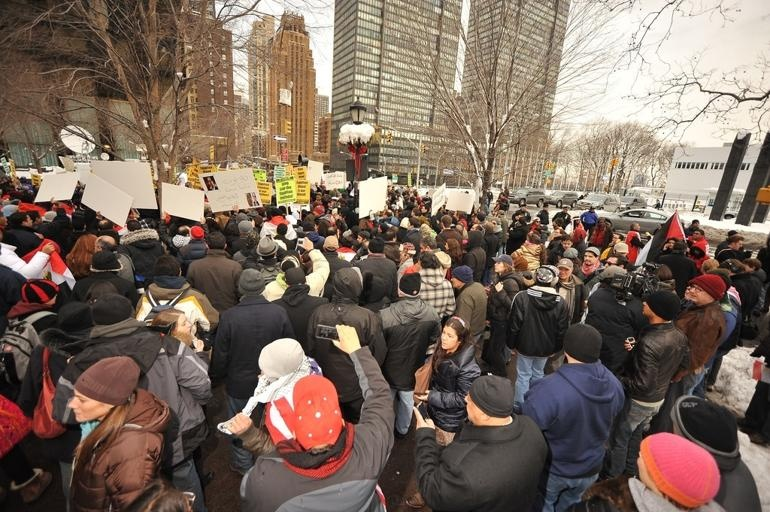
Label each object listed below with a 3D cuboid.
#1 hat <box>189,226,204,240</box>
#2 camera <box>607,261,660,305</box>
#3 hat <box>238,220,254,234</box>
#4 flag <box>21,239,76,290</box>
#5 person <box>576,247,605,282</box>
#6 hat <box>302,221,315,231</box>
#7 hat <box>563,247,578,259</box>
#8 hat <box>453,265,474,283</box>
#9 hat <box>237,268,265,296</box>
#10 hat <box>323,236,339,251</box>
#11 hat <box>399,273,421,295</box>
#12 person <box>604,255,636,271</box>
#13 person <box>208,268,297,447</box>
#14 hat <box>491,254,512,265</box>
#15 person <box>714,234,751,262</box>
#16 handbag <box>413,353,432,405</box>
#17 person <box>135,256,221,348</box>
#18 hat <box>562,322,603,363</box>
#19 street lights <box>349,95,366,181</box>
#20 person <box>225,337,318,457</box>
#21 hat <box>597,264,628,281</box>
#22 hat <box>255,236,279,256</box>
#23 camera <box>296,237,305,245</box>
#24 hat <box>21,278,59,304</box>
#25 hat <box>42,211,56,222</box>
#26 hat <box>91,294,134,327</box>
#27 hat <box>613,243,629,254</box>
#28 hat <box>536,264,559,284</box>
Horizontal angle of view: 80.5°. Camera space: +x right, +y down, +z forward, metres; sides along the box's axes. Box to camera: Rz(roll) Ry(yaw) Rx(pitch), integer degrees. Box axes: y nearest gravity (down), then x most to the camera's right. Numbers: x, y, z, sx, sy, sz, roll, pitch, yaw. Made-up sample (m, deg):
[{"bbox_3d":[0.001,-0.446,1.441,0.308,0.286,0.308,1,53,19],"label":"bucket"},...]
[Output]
[{"bbox_3d":[-3.801,-0.481,9.097,0.246,0.117,0.320,17,17,-38],"label":"hat"},{"bbox_3d":[4.344,0.428,7.855,1.099,0.489,0.623,-11,2,-43],"label":"camera"},{"bbox_3d":[-2.996,-0.658,9.758,0.325,0.149,0.416,4,35,-19],"label":"hat"},{"bbox_3d":[-6.107,0.175,8.200,0.771,0.879,0.472,9,34,15],"label":"flag"},{"bbox_3d":[4.518,0.205,9.994,0.416,0.715,0.580,-17,31,-38],"label":"person"},{"bbox_3d":[-1.751,-0.676,10.422,0.260,0.245,0.370,1,12,-11],"label":"hat"},{"bbox_3d":[3.900,-0.043,9.535,0.245,0.214,0.526,7,12,18],"label":"hat"},{"bbox_3d":[1.407,0.308,8.198,0.351,0.263,0.251,27,28,6],"label":"hat"},{"bbox_3d":[-2.057,0.366,7.008,0.337,0.349,0.439,-5,20,-32],"label":"hat"},{"bbox_3d":[-1.053,-0.276,8.761,0.223,0.176,0.318,1,26,-13],"label":"hat"},{"bbox_3d":[0.398,0.447,7.172,0.279,0.276,0.373,4,2,-10],"label":"hat"},{"bbox_3d":[5.103,0.141,9.895,0.485,0.369,0.722,18,3,20],"label":"person"},{"bbox_3d":[-2.158,1.786,7.444,1.305,3.026,0.884,2,16,-18],"label":"person"},{"bbox_3d":[2.318,0.091,8.925,0.298,0.154,0.209,18,2,10],"label":"hat"},{"bbox_3d":[8.627,-0.183,11.256,0.643,0.734,1.585,11,14,32],"label":"person"},{"bbox_3d":[0.604,1.848,6.916,0.233,0.769,0.213,-4,28,-30],"label":"handbag"},{"bbox_3d":[-3.477,0.915,7.559,1.417,1.909,0.705,0,32,-8],"label":"person"},{"bbox_3d":[2.710,1.123,6.419,0.445,0.469,0.564,16,32,5],"label":"hat"},{"bbox_3d":[-0.847,-3.471,14.147,0.639,2.593,0.614,2,19,-6],"label":"street lights"},{"bbox_3d":[-1.453,1.747,5.792,1.227,1.495,0.446,13,-19,13],"label":"person"},{"bbox_3d":[4.216,0.312,8.346,0.351,0.254,0.507,0,9,-14],"label":"hat"},{"bbox_3d":[-2.067,-0.143,7.892,0.356,0.135,0.293,37,57,16],"label":"hat"},{"bbox_3d":[-1.975,-0.345,10.609,0.174,0.170,0.314,3,18,-6],"label":"camera"},{"bbox_3d":[-5.189,0.527,6.839,0.463,0.280,0.323,-6,52,-44],"label":"hat"},{"bbox_3d":[-7.886,-0.934,10.628,0.311,0.104,0.311,23,22,14],"label":"hat"},{"bbox_3d":[-3.680,0.727,6.128,0.468,0.407,0.178,-4,14,-31],"label":"hat"},{"bbox_3d":[5.237,-0.156,10.106,0.279,0.252,0.273,9,13,23],"label":"hat"},{"bbox_3d":[2.779,0.321,7.786,0.274,0.274,0.358,23,-24,30],"label":"hat"}]
